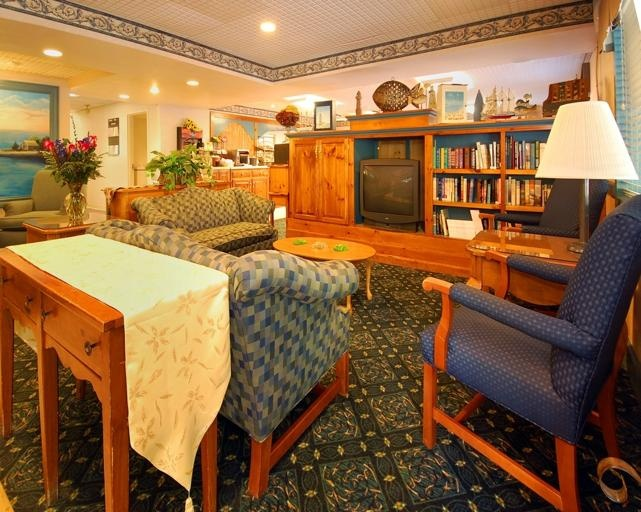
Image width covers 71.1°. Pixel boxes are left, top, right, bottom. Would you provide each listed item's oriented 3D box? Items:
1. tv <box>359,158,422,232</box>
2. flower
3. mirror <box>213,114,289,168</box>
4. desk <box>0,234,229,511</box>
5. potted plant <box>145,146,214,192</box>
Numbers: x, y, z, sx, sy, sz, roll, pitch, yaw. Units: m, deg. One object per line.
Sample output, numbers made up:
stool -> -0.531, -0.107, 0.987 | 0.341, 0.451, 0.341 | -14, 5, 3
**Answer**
tv -> 0.880, -0.771, 5.480 | 0.819, 0.872, 0.453 | 7, 13, 43
flower -> -1.988, -0.750, 3.588 | 0.379, 0.463, 0.426 | -7, 16, -30
mirror -> -1.823, -3.068, 11.574 | 0.579, 1.117, 2.919 | 5, 15, 20
desk -> -0.918, 0.525, 2.019 | 1.132, 0.841, 0.553 | 11, 12, 39
potted plant -> -1.686, -1.068, 5.299 | 0.916, 0.506, 0.895 | -6, 30, -18
